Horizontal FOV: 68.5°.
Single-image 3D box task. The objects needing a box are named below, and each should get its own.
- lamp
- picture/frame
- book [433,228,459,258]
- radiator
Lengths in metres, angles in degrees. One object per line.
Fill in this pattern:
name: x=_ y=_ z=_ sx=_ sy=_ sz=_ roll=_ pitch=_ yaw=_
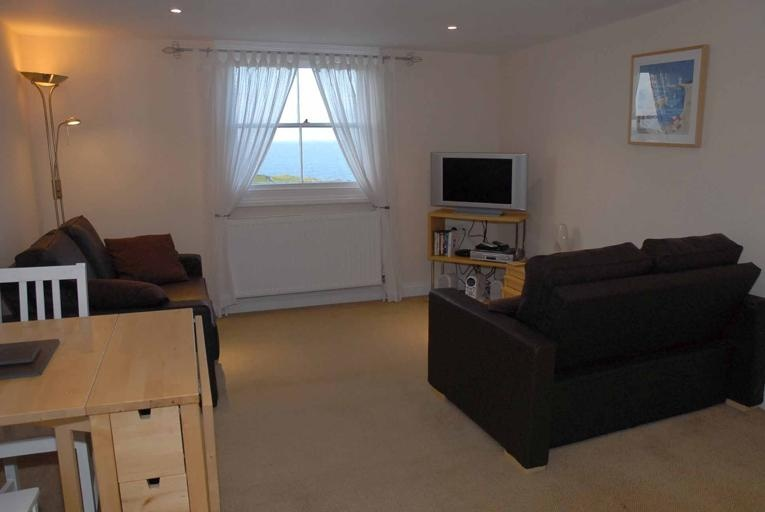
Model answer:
lamp: x=-3.036 y=-1.006 z=5.255 sx=0.416 sy=1.437 sz=0.560 roll=-11 pitch=13 yaw=-31
picture/frame: x=2.343 y=-1.303 z=4.552 sx=0.069 sy=0.983 sz=0.798 roll=-5 pitch=11 yaw=-29
book: x=0.725 y=-0.206 z=6.410 sx=0.256 sy=0.366 sz=0.363 roll=4 pitch=11 yaw=19
radiator: x=-0.834 y=-0.054 z=6.198 sx=1.754 sy=0.895 sz=0.183 roll=-5 pitch=19 yaw=-20
